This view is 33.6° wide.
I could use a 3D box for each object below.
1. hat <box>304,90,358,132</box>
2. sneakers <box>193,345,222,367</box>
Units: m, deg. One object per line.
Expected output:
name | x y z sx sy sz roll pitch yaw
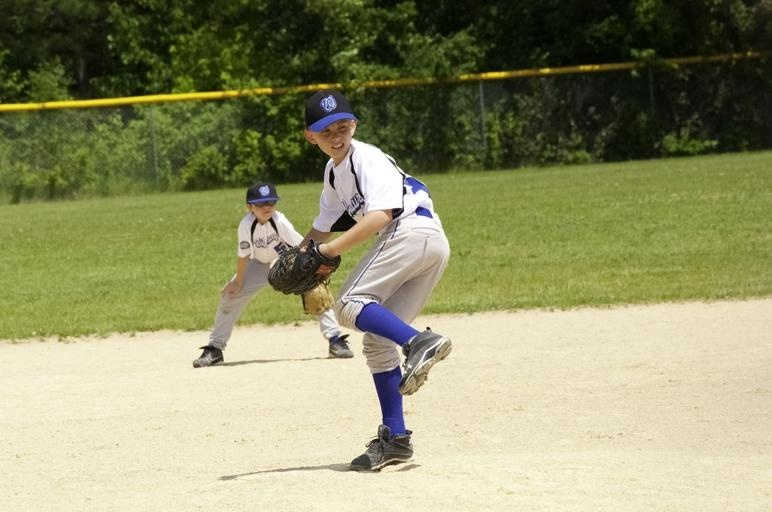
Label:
hat | -0.601 -1.544 13.442 0.573 0.351 0.674 -19 16 -13
sneakers | -2.177 1.194 15.481 0.376 0.247 0.223 -1 9 -7
